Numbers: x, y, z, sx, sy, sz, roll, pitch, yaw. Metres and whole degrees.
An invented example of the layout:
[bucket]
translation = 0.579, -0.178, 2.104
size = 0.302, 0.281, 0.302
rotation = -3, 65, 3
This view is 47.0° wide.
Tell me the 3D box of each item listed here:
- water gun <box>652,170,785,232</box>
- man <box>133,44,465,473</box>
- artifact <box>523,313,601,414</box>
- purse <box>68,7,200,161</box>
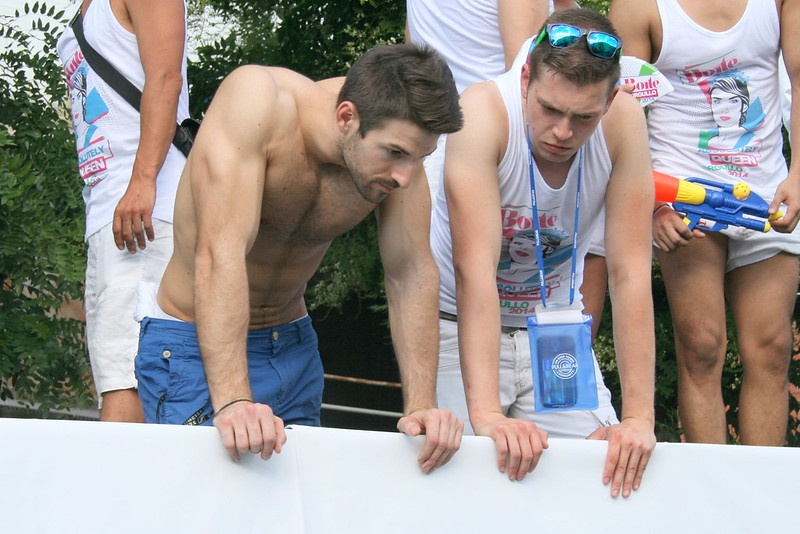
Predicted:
[water gun]
translation = 1.336, -0.272, 3.903
size = 0.490, 0.221, 0.125
rotation = 17, -3, 2
[man]
translation = -0.349, -0.048, 3.252
size = 1.118, 1.470, 0.895
rotation = -3, 7, -18
[artifact]
translation = 0.588, 0.335, 3.297
size = 0.255, 0.368, 0.138
rotation = -1, 6, -3
[purse]
translation = -1.132, -0.763, 3.902
size = 0.631, 0.169, 0.476
rotation = 42, 13, -8
